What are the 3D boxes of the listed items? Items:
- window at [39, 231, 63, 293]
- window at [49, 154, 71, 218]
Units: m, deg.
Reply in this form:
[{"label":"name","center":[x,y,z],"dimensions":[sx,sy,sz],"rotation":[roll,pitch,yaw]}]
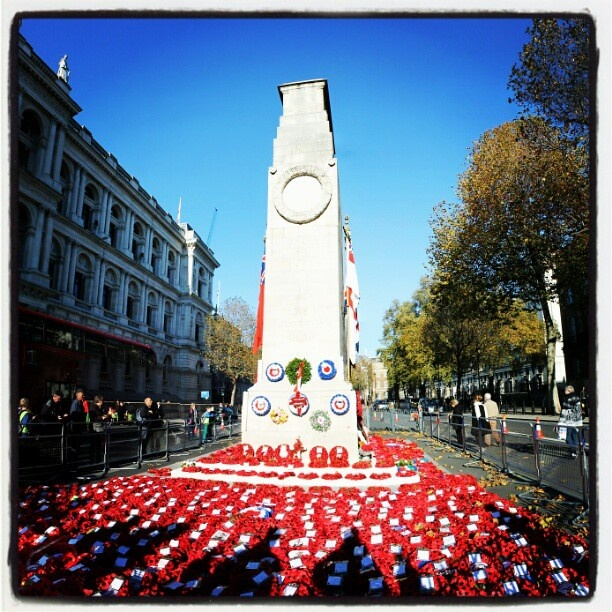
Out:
[{"label":"window","center":[-20.274,-3.476,37.221],"dimensions":[0.697,4.373,1.535],"rotation":[0,-12,-9]},{"label":"window","center":[-20.804,-10.495,39.463],"dimensions":[0.818,5.399,1.597],"rotation":[0,-12,-7]}]
